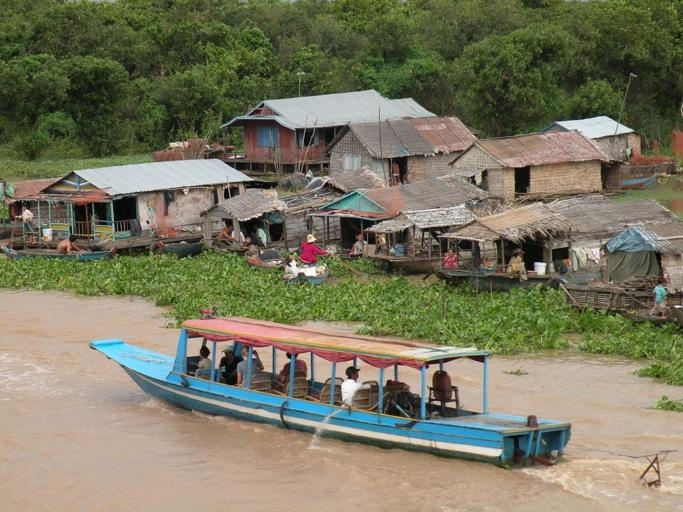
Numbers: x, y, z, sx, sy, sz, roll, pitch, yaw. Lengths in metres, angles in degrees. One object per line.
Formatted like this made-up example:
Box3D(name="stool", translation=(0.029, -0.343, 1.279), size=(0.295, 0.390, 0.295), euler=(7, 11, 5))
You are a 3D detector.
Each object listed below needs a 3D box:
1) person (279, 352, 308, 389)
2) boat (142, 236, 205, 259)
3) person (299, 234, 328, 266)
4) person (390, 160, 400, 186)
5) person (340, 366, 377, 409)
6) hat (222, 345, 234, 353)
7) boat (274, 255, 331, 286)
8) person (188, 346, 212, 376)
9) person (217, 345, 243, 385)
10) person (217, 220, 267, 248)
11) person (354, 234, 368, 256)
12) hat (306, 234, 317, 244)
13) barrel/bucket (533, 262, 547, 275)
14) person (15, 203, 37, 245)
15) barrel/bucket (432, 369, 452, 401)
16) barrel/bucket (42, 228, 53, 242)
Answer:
Box3D(name="person", translation=(-1.214, 2.966, 30.454), size=(0.739, 1.263, 0.682), euler=(-1, 22, -3))
Box3D(name="boat", translation=(-5.994, -0.291, 43.548), size=(1.543, 0.541, 0.907), euler=(2, 1, -3))
Box3D(name="person", translation=(-1.002, -0.195, 42.144), size=(0.620, 1.077, 0.710), euler=(28, 49, 28))
Box3D(name="person", translation=(2.463, -3.779, 53.458), size=(0.433, 1.182, 1.196), euler=(2, 2, 10))
Box3D(name="person", translation=(0.383, 3.335, 29.690), size=(0.778, 1.137, 1.086), euler=(5, 5, 42))
Box3D(name="hat", translation=(-2.845, 2.394, 30.816), size=(0.185, 0.131, 0.267), euler=(-10, -16, 39))
Box3D(name="boat", translation=(-1.162, 0.533, 39.831), size=(1.269, 0.624, 1.019), euler=(2, 15, -3))
Box3D(name="person", translation=(-3.673, 2.853, 31.209), size=(0.594, 1.022, 0.535), euler=(3, 5, 30))
Box3D(name="person", translation=(-2.859, 2.885, 30.680), size=(0.837, 1.118, 0.659), euler=(-5, -5, 3))
Box3D(name="person", translation=(-3.594, -0.799, 43.958), size=(1.582, 0.796, 0.987), euler=(0, 8, 5))
Box3D(name="person", translation=(0.673, -0.421, 43.083), size=(0.419, 0.805, 1.130), euler=(2, 2, 0))
Box3D(name="hat", translation=(-1.045, -0.532, 40.971), size=(0.414, 0.194, 0.444), euler=(-3, 7, 0))
Box3D(name="barrel/bucket", translation=(6.433, 0.419, 38.656), size=(0.411, 0.402, 0.632), euler=(3, 2, 15))
Box3D(name="person", translation=(-11.903, -1.246, 45.360), size=(0.726, 1.490, 1.653), euler=(1, 2, -15))
Box3D(name="barrel/bucket", translation=(2.498, 3.213, 29.536), size=(0.477, 0.831, 0.261), euler=(2, 3, 3))
Box3D(name="barrel/bucket", translation=(-11.098, -0.824, 45.329), size=(0.406, 0.573, 0.467), euler=(-1, -3, 28))
